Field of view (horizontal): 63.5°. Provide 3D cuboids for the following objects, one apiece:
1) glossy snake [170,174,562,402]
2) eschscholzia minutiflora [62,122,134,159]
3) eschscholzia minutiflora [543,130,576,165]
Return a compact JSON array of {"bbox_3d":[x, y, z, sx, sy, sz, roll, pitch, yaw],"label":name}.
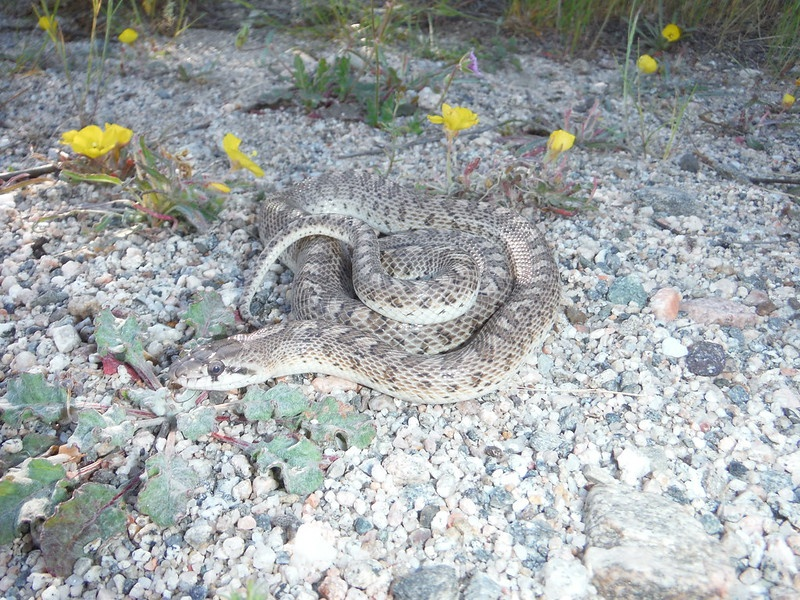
[{"bbox_3d":[-0.115,-0.063,5.621,2.701,0.748,2.682,14,49,3],"label":"glossy snake"},{"bbox_3d":[-2.573,-1.343,5.583,0.433,0.213,0.463,21,42,18],"label":"eschscholzia minutiflora"},{"bbox_3d":[1.505,-1.458,6.144,0.203,0.393,0.181,17,50,5],"label":"eschscholzia minutiflora"}]
